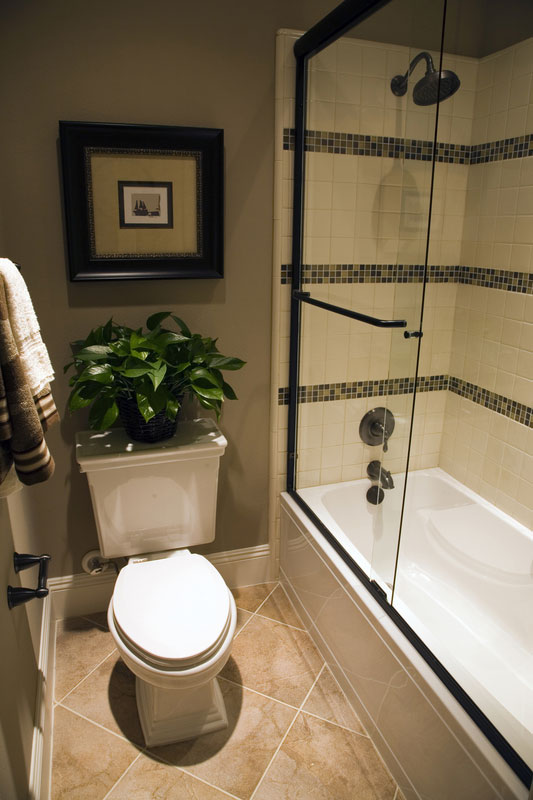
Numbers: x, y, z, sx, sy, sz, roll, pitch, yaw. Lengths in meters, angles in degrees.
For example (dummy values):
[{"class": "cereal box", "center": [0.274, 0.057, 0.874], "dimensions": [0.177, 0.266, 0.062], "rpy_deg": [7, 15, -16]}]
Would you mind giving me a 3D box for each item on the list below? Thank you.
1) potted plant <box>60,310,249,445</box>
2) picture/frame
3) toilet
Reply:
[{"class": "potted plant", "center": [-0.365, -0.017, 1.676], "dimensions": [0.408, 0.277, 0.388], "rpy_deg": [2, 5, -2]}, {"class": "picture/frame", "center": [-0.392, -0.616, 1.696], "dimensions": [0.456, 0.437, 0.040], "rpy_deg": [-5, 20, -18]}, {"class": "toilet", "center": [-0.296, 0.541, 1.670], "dimensions": [0.383, 0.732, 0.651], "rpy_deg": [-7, 26, -19]}]
